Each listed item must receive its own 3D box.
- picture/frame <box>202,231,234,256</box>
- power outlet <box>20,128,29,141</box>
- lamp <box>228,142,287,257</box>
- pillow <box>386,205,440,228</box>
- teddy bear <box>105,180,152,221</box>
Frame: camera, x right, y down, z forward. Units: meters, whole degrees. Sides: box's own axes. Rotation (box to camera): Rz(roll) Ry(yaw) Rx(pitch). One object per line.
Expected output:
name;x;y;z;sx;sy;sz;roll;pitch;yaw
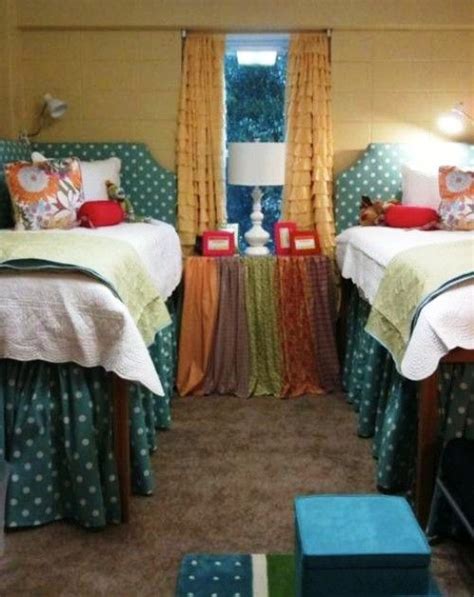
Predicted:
picture/frame;-0.111;-0.321;3.197;0.141;0.123;0.152;0;1;0
power outlet;-1.305;-1.007;3.320;0.055;0.087;0.028;-1;7;-3
lamp;0.125;-0.598;3.226;0.333;0.660;0.369;0;9;5
pillow;0.931;-0.450;2.876;0.243;0.128;0.115;9;23;14
teddy bear;-0.639;-0.567;3.077;0.295;0.143;0.087;20;-19;-3
